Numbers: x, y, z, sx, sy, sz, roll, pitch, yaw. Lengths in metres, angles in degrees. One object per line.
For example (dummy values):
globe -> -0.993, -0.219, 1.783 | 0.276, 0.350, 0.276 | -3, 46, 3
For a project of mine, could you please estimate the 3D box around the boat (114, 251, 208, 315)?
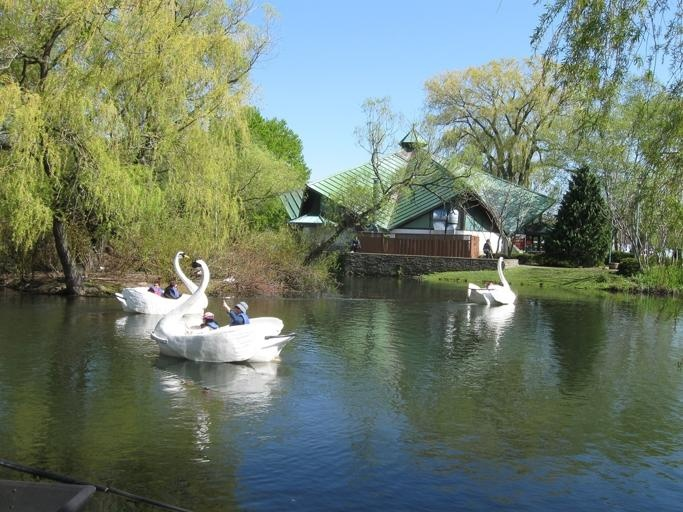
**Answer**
boat -> -7.295, 1.112, 24.480 | 4.286, 3.579, 1.758 | 3, 7, -20

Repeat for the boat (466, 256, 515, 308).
boat -> 7.741, 1.426, 30.863 | 1.745, 2.728, 3.820 | 2, 3, 39

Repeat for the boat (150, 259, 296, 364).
boat -> -3.449, 1.594, 16.609 | 4.800, 3.682, 2.007 | 2, -1, 17

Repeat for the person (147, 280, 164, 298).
person -> -7.603, 1.357, 24.453 | 0.366, 0.849, 0.281 | 6, -17, 11

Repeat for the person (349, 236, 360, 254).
person -> 1.281, -1.039, 53.902 | 0.873, 1.371, 2.006 | 3, -4, -12

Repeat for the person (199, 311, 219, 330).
person -> -3.607, 1.666, 15.982 | 0.685, 0.395, 0.435 | 21, 14, 40
